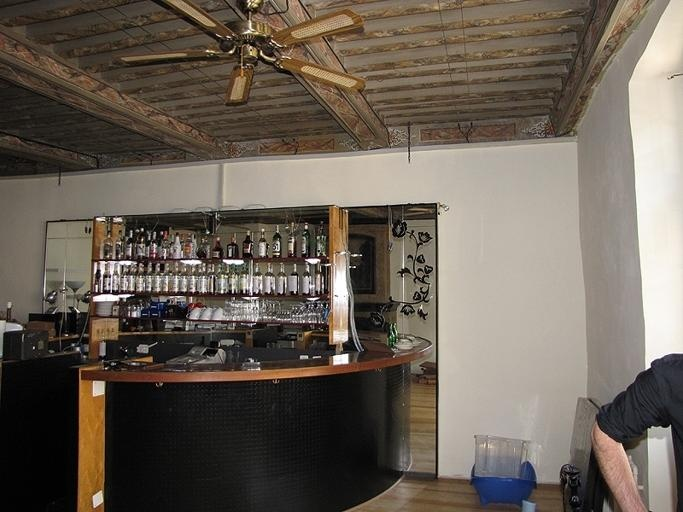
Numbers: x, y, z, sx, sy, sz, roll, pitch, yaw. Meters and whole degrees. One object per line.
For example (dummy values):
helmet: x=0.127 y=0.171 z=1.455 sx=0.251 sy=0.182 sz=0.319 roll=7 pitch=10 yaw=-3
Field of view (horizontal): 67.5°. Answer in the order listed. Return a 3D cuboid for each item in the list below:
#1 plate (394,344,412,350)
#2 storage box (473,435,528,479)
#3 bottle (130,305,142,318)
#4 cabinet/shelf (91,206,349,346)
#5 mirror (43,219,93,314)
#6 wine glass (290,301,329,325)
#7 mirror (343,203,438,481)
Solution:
plate: x=0.699 y=1.011 z=5.700 sx=0.172 sy=0.052 sz=0.188 roll=-1 pitch=-4 yaw=13
storage box: x=1.724 y=2.183 z=5.586 sx=0.750 sy=0.472 sz=0.404 roll=1 pitch=-8 yaw=13
bottle: x=-2.615 y=0.714 z=6.537 sx=0.154 sy=0.148 sz=0.148 roll=3 pitch=-5 yaw=-24
cabinet/shelf: x=-1.615 y=0.140 z=6.309 sx=3.146 sy=1.378 sz=0.366 roll=-1 pitch=-4 yaw=15
mirror: x=-4.067 y=0.143 z=7.614 sx=0.951 sy=1.372 sz=0.194 roll=-2 pitch=-4 yaw=27
wine glass: x=-0.364 y=0.640 z=5.778 sx=0.362 sy=0.127 sz=0.247 roll=1 pitch=0 yaw=24
mirror: x=0.633 y=0.971 z=6.166 sx=1.004 sy=3.199 sz=0.293 roll=-2 pitch=-4 yaw=26
